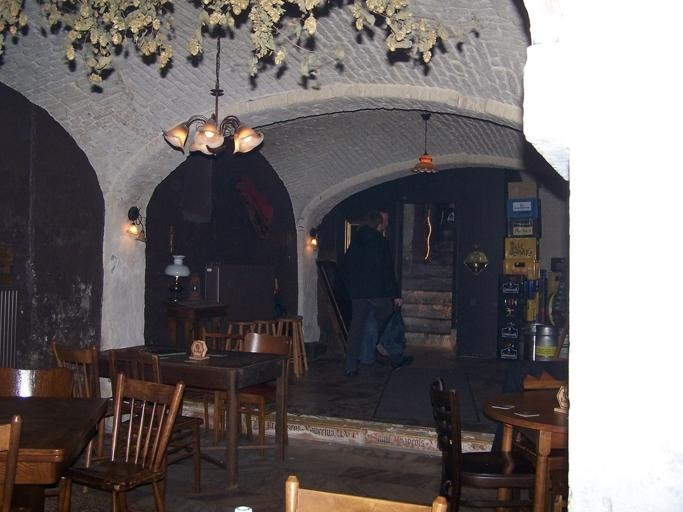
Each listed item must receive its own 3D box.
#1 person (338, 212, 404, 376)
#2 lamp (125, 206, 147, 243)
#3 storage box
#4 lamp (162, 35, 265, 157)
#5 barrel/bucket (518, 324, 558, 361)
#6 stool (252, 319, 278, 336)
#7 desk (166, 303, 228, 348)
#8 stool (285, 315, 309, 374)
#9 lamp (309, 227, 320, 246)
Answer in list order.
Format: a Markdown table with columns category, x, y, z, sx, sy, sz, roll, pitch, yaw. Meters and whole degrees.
| category | x | y | z | sx | sy | sz | roll | pitch | yaw |
| --- | --- | --- | --- | --- | --- | --- | --- | --- | --- |
| person | 0.386 | 0.474 | 10.538 | 0.663 | 1.997 | 0.538 | 1 | -8 | -7 |
| lamp | -2.169 | -0.340 | 8.925 | 0.083 | 0.364 | 0.354 | -2 | -8 | 13 |
| storage box | 2.739 | -0.386 | 12.736 | 0.582 | 1.495 | 0.322 | 0 | -8 | 3 |
| lamp | -1.078 | -1.348 | 7.098 | 0.776 | 0.846 | 0.636 | 2 | -2 | -28 |
| barrel/bucket | 2.870 | 1.264 | 12.324 | 0.523 | 0.572 | 0.534 | 0 | -5 | 0 |
| stool | -0.999 | 0.920 | 10.939 | 0.299 | 0.365 | 0.307 | 0 | -5 | 0 |
| desk | -1.636 | 0.669 | 9.578 | 0.480 | 0.808 | 0.670 | -1 | 0 | 27 |
| stool | -0.650 | 1.166 | 11.157 | 0.370 | 0.690 | 0.371 | -8 | 10 | -43 |
| lamp | -0.430 | -0.278 | 13.208 | 0.194 | 0.241 | 0.264 | 0 | -3 | 1 |
